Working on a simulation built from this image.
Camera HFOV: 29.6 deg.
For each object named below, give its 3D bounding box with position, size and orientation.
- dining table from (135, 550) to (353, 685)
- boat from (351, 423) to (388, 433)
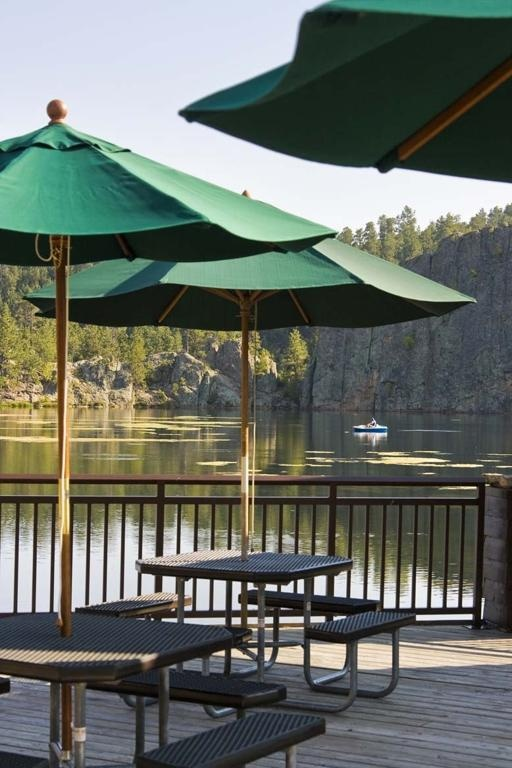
[{"bbox_3d":[0.001,1.014,4.829,0.787,0.476,0.788,-3,-6,39],"label":"dining table"},{"bbox_3d":[7.946,3.123,66.679,1.697,0.473,1.074,-3,4,16],"label":"boat"}]
